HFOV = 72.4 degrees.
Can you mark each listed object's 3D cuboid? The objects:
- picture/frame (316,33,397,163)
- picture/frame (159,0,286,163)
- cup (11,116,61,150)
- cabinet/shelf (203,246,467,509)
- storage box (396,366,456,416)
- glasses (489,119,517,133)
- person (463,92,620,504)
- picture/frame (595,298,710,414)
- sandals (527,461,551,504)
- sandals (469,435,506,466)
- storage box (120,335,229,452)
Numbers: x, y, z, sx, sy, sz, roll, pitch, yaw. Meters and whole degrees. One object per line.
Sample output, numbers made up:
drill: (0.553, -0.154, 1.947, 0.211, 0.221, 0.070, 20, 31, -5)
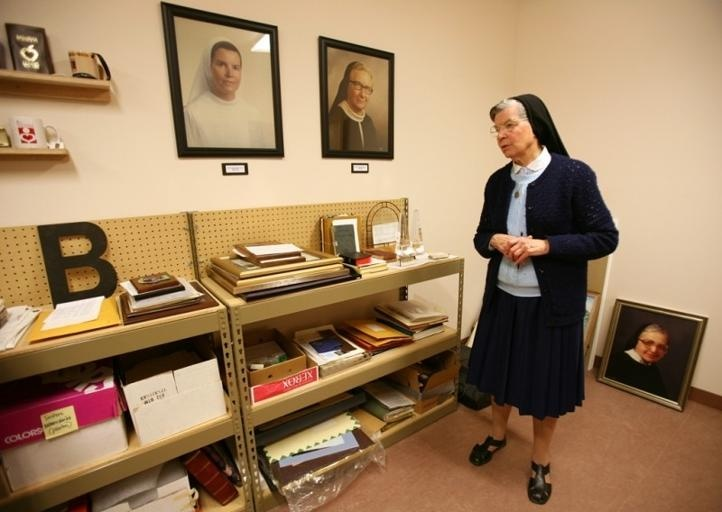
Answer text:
picture/frame: (-0.055, -1.073, 3.250, 0.791, 0.932, 0.061, -8, 17, -36)
picture/frame: (-0.826, -1.027, 2.828, 0.856, 1.016, 0.044, -9, 16, -32)
cup: (-1.634, -0.617, 2.477, 0.219, 0.169, 0.104, -11, 15, -31)
cabinet/shelf: (-0.187, 0.744, 2.889, 1.199, 0.908, 0.431, -17, 24, -36)
storage box: (0.427, 0.869, 3.299, 0.323, 0.217, 0.325, -9, 16, -41)
glasses: (0.773, -0.714, 2.714, 0.062, 0.061, 0.158, -13, 16, -35)
person: (0.985, 0.009, 2.752, 0.763, 1.766, 0.404, 4, 15, 27)
picture/frame: (2.109, 0.730, 3.524, 0.611, 0.768, 0.052, 17, 4, 44)
sandals: (1.019, 1.306, 2.840, 0.087, 0.106, 0.263, -2, 3, 19)
sandals: (0.799, 1.196, 3.124, 0.284, 0.124, 0.105, -12, 10, -36)
storage box: (-0.988, 0.680, 2.627, 0.507, 0.341, 0.524, -8, 17, -19)
